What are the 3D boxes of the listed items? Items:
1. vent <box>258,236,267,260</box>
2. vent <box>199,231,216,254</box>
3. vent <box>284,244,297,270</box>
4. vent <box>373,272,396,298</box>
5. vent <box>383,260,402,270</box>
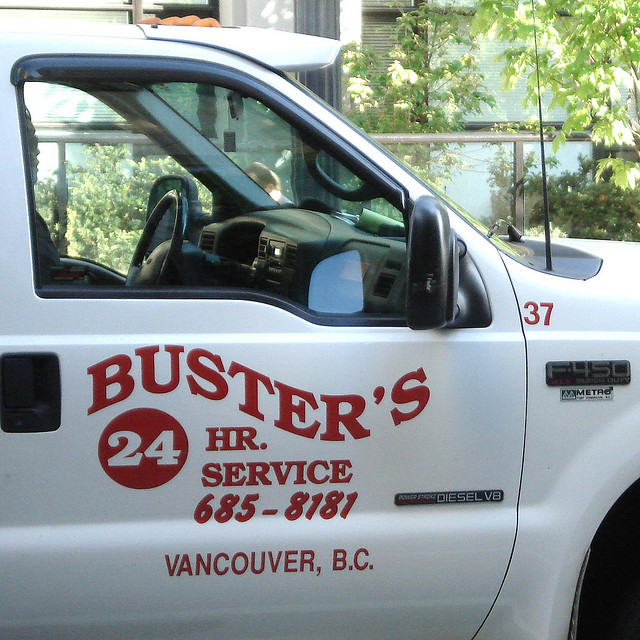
[{"bbox_3d":[-0.170,-0.206,3.303,0.022,0.057,0.055,0,12,-2],"label":"vent"},{"bbox_3d":[-0.335,-0.223,3.334,0.051,0.088,0.045,6,-19,-10],"label":"vent"},{"bbox_3d":[-0.090,-0.180,3.283,0.015,0.050,0.070,4,-7,34],"label":"vent"},{"bbox_3d":[0.182,-0.098,3.251,0.064,0.067,0.035,1,12,3],"label":"vent"},{"bbox_3d":[0.207,-0.156,3.263,0.035,0.031,0.009,7,-10,9],"label":"vent"}]
